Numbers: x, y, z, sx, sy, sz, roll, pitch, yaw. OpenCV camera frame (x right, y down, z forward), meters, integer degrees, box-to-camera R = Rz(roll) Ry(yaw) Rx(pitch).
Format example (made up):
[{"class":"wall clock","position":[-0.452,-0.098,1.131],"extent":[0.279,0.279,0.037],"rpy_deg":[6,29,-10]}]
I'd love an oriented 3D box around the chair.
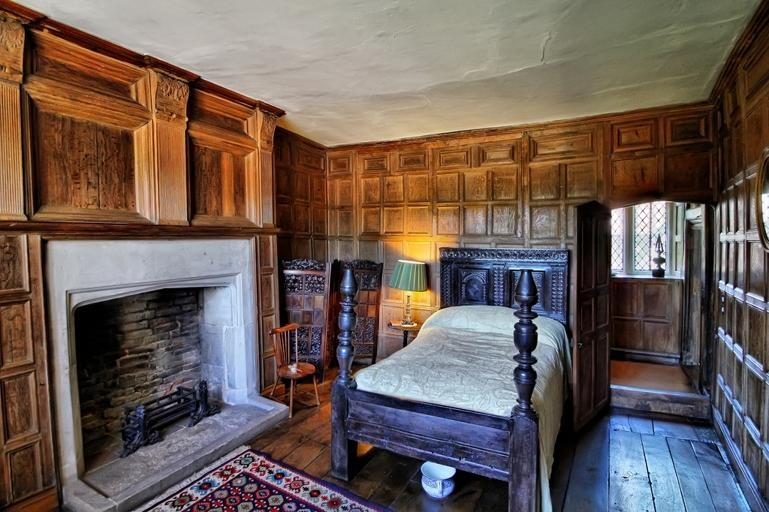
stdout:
[{"class":"chair","position":[-1.003,1.237,5.195],"extent":[0.561,0.851,0.547],"rpy_deg":[3,6,8]}]
